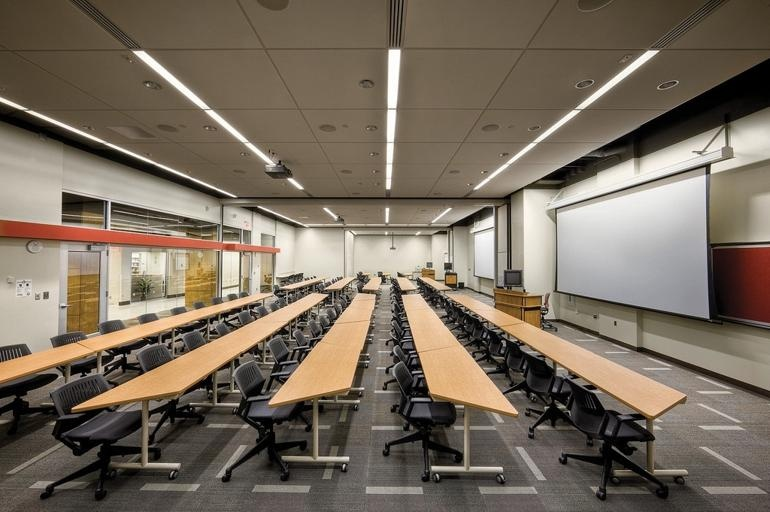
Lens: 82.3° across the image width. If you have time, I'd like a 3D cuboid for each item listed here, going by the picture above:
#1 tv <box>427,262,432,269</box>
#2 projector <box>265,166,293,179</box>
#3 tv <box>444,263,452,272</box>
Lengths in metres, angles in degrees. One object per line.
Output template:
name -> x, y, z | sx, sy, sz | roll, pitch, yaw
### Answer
tv -> 2.434, 0.536, 24.096 | 0.367, 0.348, 0.128 | -1, -5, 14
projector -> -2.292, -1.806, 9.420 | 0.471, 0.214, 0.349 | -2, -3, -6
tv -> 3.105, 0.558, 21.446 | 0.402, 0.359, 0.386 | -2, -4, 10
